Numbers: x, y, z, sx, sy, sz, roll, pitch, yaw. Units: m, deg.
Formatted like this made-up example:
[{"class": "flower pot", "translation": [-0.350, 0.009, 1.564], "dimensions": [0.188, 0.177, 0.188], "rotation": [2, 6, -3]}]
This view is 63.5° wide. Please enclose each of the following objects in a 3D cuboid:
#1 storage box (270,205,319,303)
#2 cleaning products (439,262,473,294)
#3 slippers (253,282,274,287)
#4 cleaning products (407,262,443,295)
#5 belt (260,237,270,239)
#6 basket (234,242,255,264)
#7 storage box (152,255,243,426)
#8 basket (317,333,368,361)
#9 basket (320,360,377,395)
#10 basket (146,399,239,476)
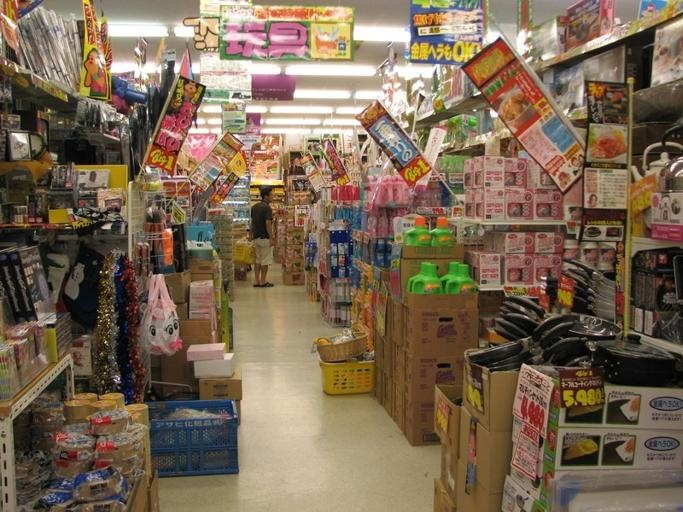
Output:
[{"class": "storage box", "translation": [-1.018, -0.012, 12.117], "dimensions": [1.028, 2.142, 2.052], "rotation": [-2, 3, -7]}, {"class": "cleaning products", "translation": [0.904, 0.186, 4.436], "dimensions": [0.260, 0.286, 0.193], "rotation": [-5, 1, -7]}, {"class": "slippers", "translation": [-1.734, 0.658, 12.276], "dimensions": [0.311, 0.102, 0.172], "rotation": [-2, 0, 8]}, {"class": "cleaning products", "translation": [0.658, 0.175, 4.464], "dimensions": [0.262, 0.289, 0.199], "rotation": [-1, 4, -5]}, {"class": "belt", "translation": [-1.648, -0.367, 11.838], "dimensions": [0.081, 0.079, 0.221], "rotation": [5, 8, 42]}, {"class": "basket", "translation": [-2.310, -0.055, 12.873], "dimensions": [0.416, 0.555, 0.738], "rotation": [2, -2, -31]}, {"class": "storage box", "translation": [-1.262, 0.741, 4.710], "dimensions": [0.659, 1.388, 1.367], "rotation": [0, 1, -4]}, {"class": "basket", "translation": [0.005, 0.913, 5.517], "dimensions": [0.535, 0.255, 0.373], "rotation": [0, 6, -2]}, {"class": "basket", "translation": [0.075, 1.202, 5.468], "dimensions": [0.432, 0.250, 0.335], "rotation": [-1, 0, -10]}, {"class": "basket", "translation": [-1.102, 1.266, 4.145], "dimensions": [0.534, 0.363, 0.544], "rotation": [1, 0, -15]}]
